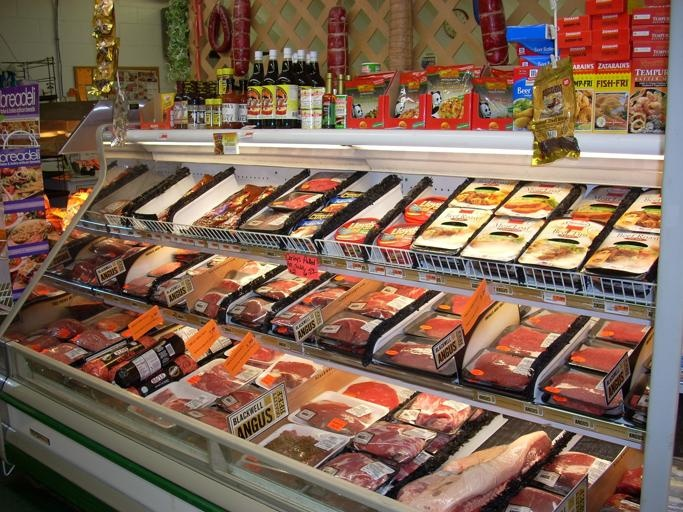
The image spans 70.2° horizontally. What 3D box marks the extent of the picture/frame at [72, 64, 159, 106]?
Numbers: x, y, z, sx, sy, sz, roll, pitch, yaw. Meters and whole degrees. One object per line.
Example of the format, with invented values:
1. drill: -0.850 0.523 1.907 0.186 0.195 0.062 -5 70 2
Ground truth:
1. picture/frame: -3.447 -2.700 7.589 1.261 0.553 0.946 -7 15 -14
